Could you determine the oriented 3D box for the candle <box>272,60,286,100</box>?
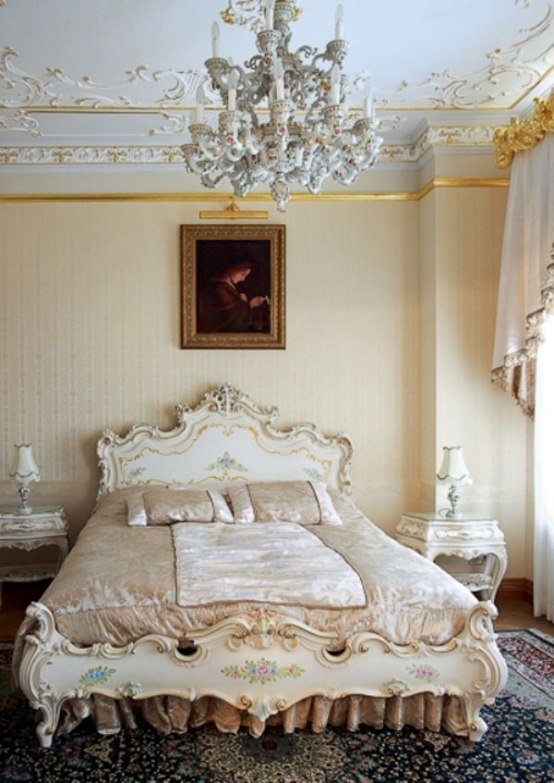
[{"bbox_3d":[0.006,-1.165,2.762,0.030,0.128,0.092,0,5,5],"label":"candle"}]

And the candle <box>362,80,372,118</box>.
[{"bbox_3d":[0.382,-1.219,3.111,0.033,0.155,0.102,0,5,6],"label":"candle"}]

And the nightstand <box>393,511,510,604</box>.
[{"bbox_3d":[1.184,1.035,5.132,0.849,0.786,0.650,1,-7,-6],"label":"nightstand"}]
